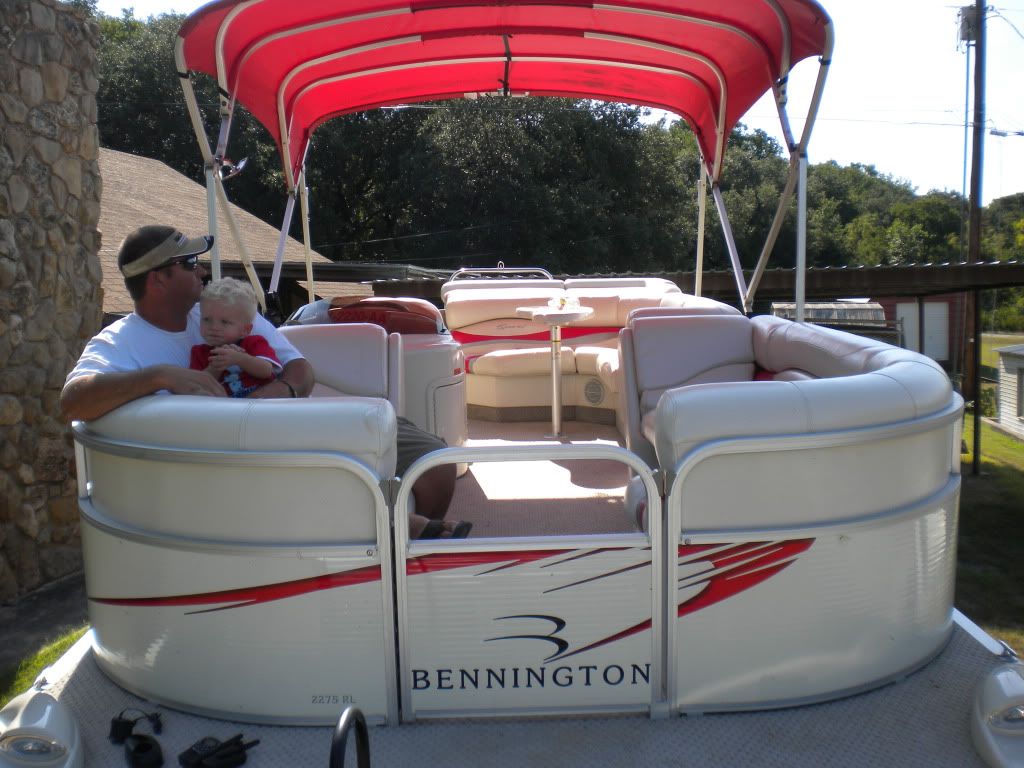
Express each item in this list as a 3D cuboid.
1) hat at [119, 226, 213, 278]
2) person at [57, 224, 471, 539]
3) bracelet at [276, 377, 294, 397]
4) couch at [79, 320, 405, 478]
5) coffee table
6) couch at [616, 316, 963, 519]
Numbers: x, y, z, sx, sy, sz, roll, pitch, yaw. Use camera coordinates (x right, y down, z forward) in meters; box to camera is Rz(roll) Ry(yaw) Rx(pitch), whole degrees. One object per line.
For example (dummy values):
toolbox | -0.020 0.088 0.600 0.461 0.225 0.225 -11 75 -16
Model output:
hat | -1.611 -0.598 4.868 0.322 0.107 0.221 -33 26 -13
person | -1.157 -0.017 5.056 1.582 1.497 0.869 0 4 -12
bracelet | -1.064 0.010 4.954 0.061 0.089 0.075 -2 15 -16
couch | -1.187 -0.036 5.062 1.420 0.601 1.646 0 8 1
coffee table | 0.299 -0.141 7.651 0.495 0.934 1.097 0 8 1
couch | 1.353 0.220 5.477 1.466 0.942 2.254 -4 12 -3
